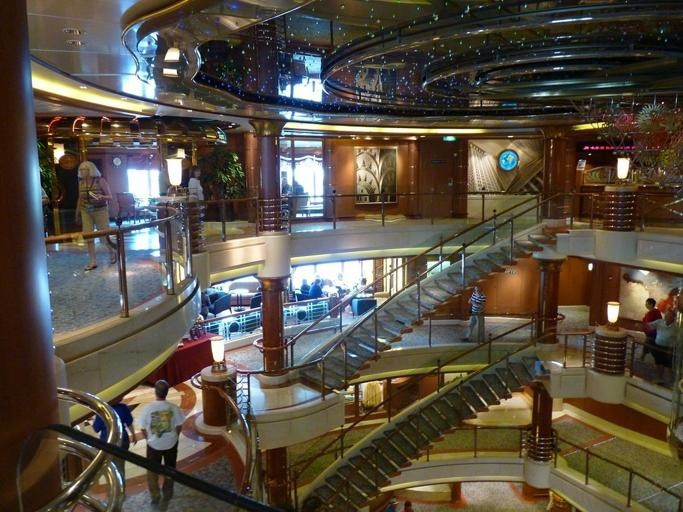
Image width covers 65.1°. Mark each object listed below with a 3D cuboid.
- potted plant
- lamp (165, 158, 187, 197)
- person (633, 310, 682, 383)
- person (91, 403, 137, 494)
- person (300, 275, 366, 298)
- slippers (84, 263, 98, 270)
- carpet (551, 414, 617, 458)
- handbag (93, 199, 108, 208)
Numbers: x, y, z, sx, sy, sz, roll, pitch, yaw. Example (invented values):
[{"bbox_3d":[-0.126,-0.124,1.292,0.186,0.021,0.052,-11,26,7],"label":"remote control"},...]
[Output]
[{"bbox_3d":[-3.317,-2.040,15.199,1.185,2.135,1.480,-5,10,-8],"label":"potted plant"},{"bbox_3d":[-2.648,-1.252,8.568,0.389,0.512,0.344,-12,22,-30],"label":"lamp"},{"bbox_3d":[6.669,1.954,11.308,0.579,1.362,1.183,2,11,28],"label":"person"},{"bbox_3d":[-2.162,1.749,5.143,0.389,0.925,0.295,3,7,-19],"label":"person"},{"bbox_3d":[-0.211,1.113,17.716,1.878,0.962,0.817,-4,11,1],"label":"person"},{"bbox_3d":[-3.125,0.143,6.695,0.157,0.056,0.061,3,3,20],"label":"slippers"},{"bbox_3d":[6.813,5.021,15.136,0.097,1.236,1.155,29,54,-2],"label":"carpet"},{"bbox_3d":[-3.275,-0.721,7.285,0.135,0.118,0.122,-2,9,2],"label":"handbag"}]
